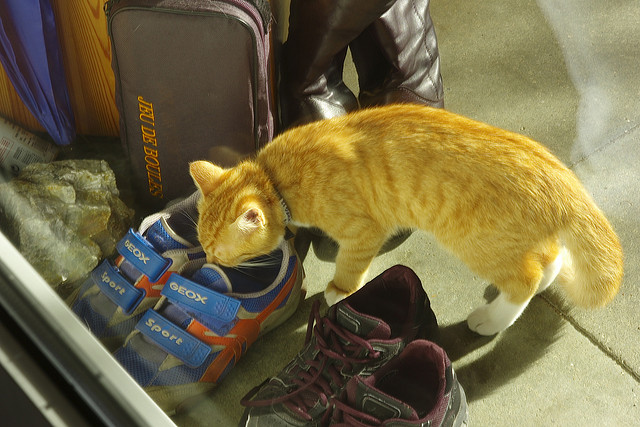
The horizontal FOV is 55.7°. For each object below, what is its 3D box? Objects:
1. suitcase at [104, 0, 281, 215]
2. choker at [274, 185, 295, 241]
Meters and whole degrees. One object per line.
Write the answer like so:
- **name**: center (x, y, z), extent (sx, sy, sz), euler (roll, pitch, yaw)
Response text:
- **suitcase**: center (-0.270, -0.242, 1.333), extent (0.364, 0.555, 0.201), euler (8, 42, 6)
- **choker**: center (-0.083, 0.008, 1.366), extent (0.060, 0.122, 0.050), euler (8, 36, -4)
